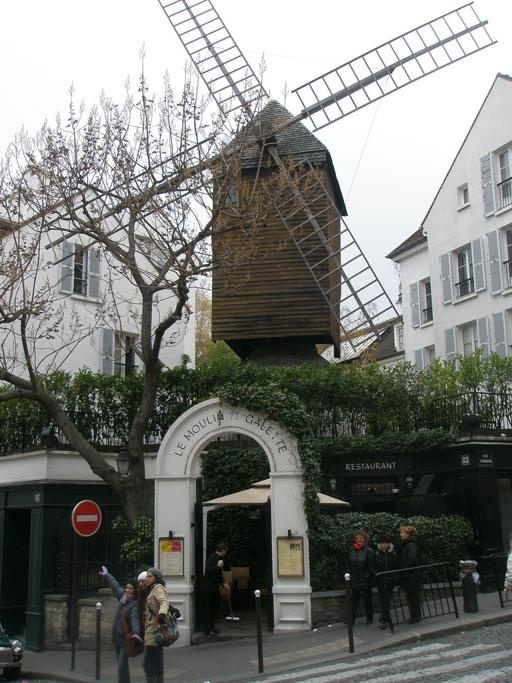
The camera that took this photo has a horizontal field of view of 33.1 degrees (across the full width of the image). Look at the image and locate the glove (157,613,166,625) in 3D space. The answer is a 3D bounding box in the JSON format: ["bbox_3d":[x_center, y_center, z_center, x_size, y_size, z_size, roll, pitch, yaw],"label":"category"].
[{"bbox_3d":[-1.219,3.608,11.220,0.115,0.124,0.117,-1,-4,-24],"label":"glove"}]

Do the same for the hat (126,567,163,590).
[{"bbox_3d":[-1.493,3.265,11.876,0.402,0.353,0.294,1,-17,-4],"label":"hat"}]

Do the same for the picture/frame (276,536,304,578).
[{"bbox_3d":[0.673,4.041,16.070,0.753,1.014,0.105,-1,-24,5],"label":"picture/frame"}]

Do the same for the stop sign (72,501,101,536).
[{"bbox_3d":[-2.903,2.990,14.630,0.329,0.560,0.600,-9,-14,21],"label":"stop sign"}]

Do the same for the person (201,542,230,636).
[{"bbox_3d":[-0.765,4.675,16.327,0.483,1.648,1.040,-3,-13,-4],"label":"person"}]

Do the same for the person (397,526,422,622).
[{"bbox_3d":[2.680,3.986,14.776,0.386,1.599,1.284,-6,-13,8],"label":"person"}]

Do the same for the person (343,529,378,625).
[{"bbox_3d":[1.885,4.138,15.096,0.462,1.574,0.924,-5,-13,5],"label":"person"}]

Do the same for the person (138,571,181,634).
[{"bbox_3d":[-1.459,3.533,11.815,0.528,0.733,0.269,-3,9,1],"label":"person"}]

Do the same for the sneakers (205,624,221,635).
[{"bbox_3d":[-0.761,5.381,16.058,0.222,0.207,0.329,-15,-17,40],"label":"sneakers"}]

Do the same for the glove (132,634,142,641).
[{"bbox_3d":[-1.590,3.961,11.549,0.076,0.103,0.036,-30,-3,21],"label":"glove"}]

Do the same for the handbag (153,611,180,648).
[{"bbox_3d":[-1.152,3.789,11.356,0.371,0.402,0.245,5,-15,-34],"label":"handbag"}]

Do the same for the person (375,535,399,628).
[{"bbox_3d":[2.237,4.077,14.590,0.389,1.464,1.383,-5,-13,8],"label":"person"}]

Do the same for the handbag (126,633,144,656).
[{"bbox_3d":[-1.626,4.060,11.599,0.182,0.344,0.357,-4,-4,15],"label":"handbag"}]
